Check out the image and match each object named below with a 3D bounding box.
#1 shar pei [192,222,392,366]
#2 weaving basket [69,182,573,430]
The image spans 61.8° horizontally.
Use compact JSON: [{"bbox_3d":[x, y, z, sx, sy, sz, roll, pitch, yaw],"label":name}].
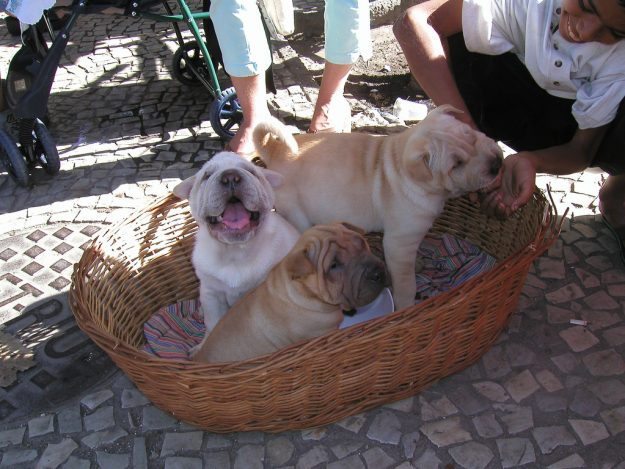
[{"bbox_3d":[-0.111,0.307,2.943,1.082,0.570,0.427,-8,38,-5],"label":"shar pei"},{"bbox_3d":[0.010,0.560,3.104,2.530,0.776,1.676,-14,24,1],"label":"weaving basket"}]
